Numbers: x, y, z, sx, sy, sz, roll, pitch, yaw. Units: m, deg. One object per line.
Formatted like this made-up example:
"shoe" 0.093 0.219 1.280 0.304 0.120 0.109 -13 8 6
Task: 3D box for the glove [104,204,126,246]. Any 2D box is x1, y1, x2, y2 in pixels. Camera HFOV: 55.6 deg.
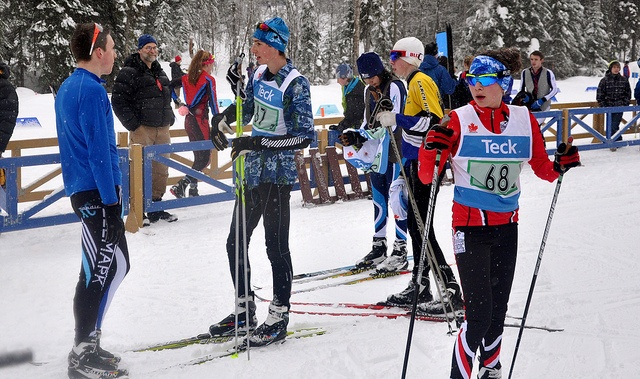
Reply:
"glove" -2.882 0.495 8.507 0.147 0.461 0.343 2 -7 32

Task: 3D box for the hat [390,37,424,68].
"hat" 1.410 -2.214 9.750 0.502 0.427 0.428 9 19 19

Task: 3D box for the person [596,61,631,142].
"person" 8.505 -2.549 17.451 0.896 2.237 0.922 -3 12 -4

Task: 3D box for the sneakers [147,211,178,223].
"sneakers" -3.189 0.521 12.320 0.604 0.280 0.201 -2 9 -13

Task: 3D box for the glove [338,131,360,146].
"glove" 0.437 -0.777 9.071 0.299 0.244 0.186 -2 12 -1

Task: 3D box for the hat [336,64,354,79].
"hat" 0.516 -2.461 12.770 0.331 0.322 0.310 11 12 23

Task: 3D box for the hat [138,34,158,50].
"hat" -3.428 -2.934 11.999 0.319 0.258 0.319 -1 9 -11

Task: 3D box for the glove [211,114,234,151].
"glove" -1.449 -0.813 9.002 0.315 0.512 0.138 -19 -17 14

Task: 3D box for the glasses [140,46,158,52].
"glasses" -3.389 -2.745 11.971 0.169 0.127 0.216 -7 6 -38

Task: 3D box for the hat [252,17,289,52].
"hat" -0.665 -2.298 8.726 0.407 0.146 0.528 24 -10 18

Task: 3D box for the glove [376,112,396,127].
"glove" 0.966 -1.045 8.840 0.260 0.190 0.264 -5 10 -10
